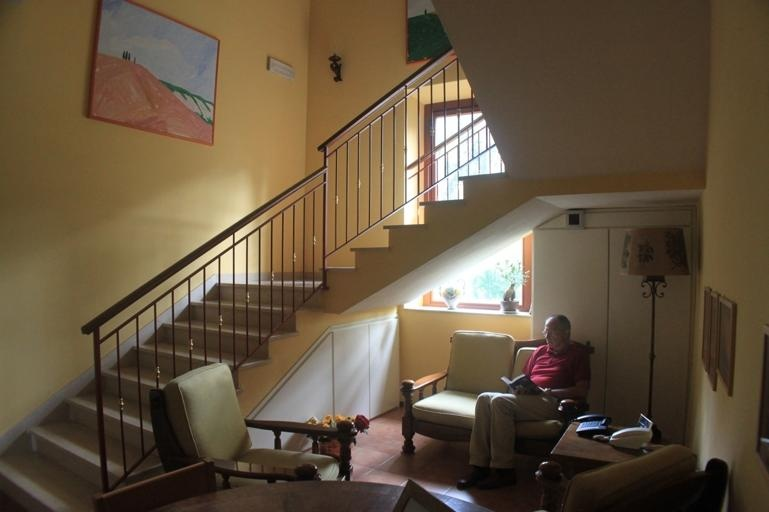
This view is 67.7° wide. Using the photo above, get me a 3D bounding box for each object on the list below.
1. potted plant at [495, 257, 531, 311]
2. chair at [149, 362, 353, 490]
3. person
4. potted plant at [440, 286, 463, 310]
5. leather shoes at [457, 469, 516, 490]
[{"bbox_3d":[1.376,0.302,6.100,0.383,0.560,0.279,4,0,19],"label":"potted plant"},{"bbox_3d":[-0.886,1.156,4.004,1.034,0.949,0.882,-1,-1,17],"label":"chair"},{"bbox_3d":[1.262,1.395,5.529,1.520,2.045,0.912,7,-12,-15],"label":"person"},{"bbox_3d":[0.750,0.460,6.396,0.224,0.260,0.199,4,0,-6],"label":"potted plant"},{"bbox_3d":[0.834,1.800,4.721,0.494,0.218,0.185,1,-5,-6],"label":"leather shoes"}]
